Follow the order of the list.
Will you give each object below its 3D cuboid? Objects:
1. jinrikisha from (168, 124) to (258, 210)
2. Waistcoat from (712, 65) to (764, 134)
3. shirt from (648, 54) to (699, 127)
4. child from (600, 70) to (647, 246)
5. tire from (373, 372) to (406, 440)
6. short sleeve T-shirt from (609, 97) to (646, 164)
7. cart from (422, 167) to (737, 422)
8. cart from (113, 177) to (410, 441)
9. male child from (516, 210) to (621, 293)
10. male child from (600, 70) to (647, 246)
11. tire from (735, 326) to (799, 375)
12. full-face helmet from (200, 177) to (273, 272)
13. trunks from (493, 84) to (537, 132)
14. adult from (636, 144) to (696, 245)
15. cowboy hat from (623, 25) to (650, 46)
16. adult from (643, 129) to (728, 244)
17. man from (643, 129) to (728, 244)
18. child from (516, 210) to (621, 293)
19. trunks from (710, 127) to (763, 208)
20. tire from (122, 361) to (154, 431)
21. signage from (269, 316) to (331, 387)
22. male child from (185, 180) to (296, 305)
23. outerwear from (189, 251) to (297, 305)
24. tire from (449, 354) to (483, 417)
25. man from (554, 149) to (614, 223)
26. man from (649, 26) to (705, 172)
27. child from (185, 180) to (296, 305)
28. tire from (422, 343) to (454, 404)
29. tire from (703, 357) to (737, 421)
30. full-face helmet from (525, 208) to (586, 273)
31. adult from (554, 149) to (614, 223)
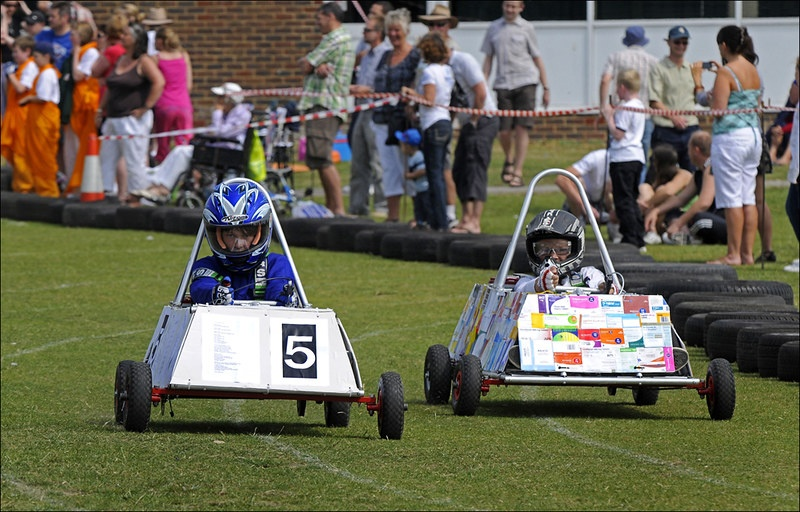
[{"bbox_3d":[-2.409,-1.141,20.894,1.276,1.422,0.856,6,0,-4],"label":"jinrikisha"},{"bbox_3d":[3.658,-1.689,17.268,0.493,0.735,0.316,1,4,10],"label":"Waistcoat"},{"bbox_3d":[3.472,-2.047,20.015,0.847,0.919,0.498,-1,3,-24],"label":"shirt"},{"bbox_3d":[2.640,-1.124,18.826,0.560,2.070,0.578,1,2,0],"label":"child"},{"bbox_3d":[-0.073,1.219,12.959,0.241,0.540,0.288,0,4,-1],"label":"tire"},{"bbox_3d":[2.668,-1.482,18.797,0.439,0.772,0.643,2,6,26],"label":"short sleeve T-shirt"},{"bbox_3d":[1.482,0.280,14.431,2.389,2.047,2.698,1,3,-10],"label":"cart"},{"bbox_3d":[-1.157,0.426,13.047,2.067,1.812,2.325,2,-9,-10],"label":"cart"},{"bbox_3d":[1.425,-0.035,13.989,0.830,0.682,1.096,-1,14,8],"label":"male child"},{"bbox_3d":[2.636,-1.101,18.825,0.579,2.063,0.628,2,4,33],"label":"male child"},{"bbox_3d":[3.264,0.824,14.425,0.459,0.280,0.460,0,3,1],"label":"tire"},{"bbox_3d":[-1.334,-0.281,13.381,0.552,0.624,0.722,-1,21,-1],"label":"full-face helmet"},{"bbox_3d":[1.432,-1.859,19.904,0.499,0.711,0.391,-5,-23,12],"label":"trunks"},{"bbox_3d":[3.297,-0.748,19.886,0.746,1.213,0.560,-10,15,-32],"label":"adult"},{"bbox_3d":[2.921,-2.756,19.831,0.303,0.288,0.441,1,4,14],"label":"cowboy hat"},{"bbox_3d":[3.672,-0.763,19.448,1.265,1.470,1.225,2,1,-4],"label":"adult"},{"bbox_3d":[3.680,-0.777,19.438,1.265,1.470,1.225,2,1,-4],"label":"man"},{"bbox_3d":[1.433,-0.040,13.986,0.837,0.692,1.095,-1,13,7],"label":"child"},{"bbox_3d":[3.716,-1.002,17.591,0.691,0.922,0.520,-3,7,-45],"label":"trunks"},{"bbox_3d":[-2.160,1.159,12.976,0.215,0.599,0.600,6,13,-14],"label":"tire"},{"bbox_3d":[-0.826,0.801,12.848,0.567,0.666,0.065,0,-17,-7],"label":"signage"},{"bbox_3d":[-1.375,-0.101,13.359,0.937,0.980,1.448,-2,0,-19],"label":"male child"},{"bbox_3d":[-1.292,0.240,13.282,0.787,0.512,1.084,4,6,-10],"label":"outerwear"},{"bbox_3d":[0.564,1.115,13.529,0.180,0.500,0.498,1,2,-16],"label":"tire"},{"bbox_3d":[2.173,-0.809,18.484,0.905,0.972,0.568,-3,22,8],"label":"man"},{"bbox_3d":[3.536,-1.703,19.965,0.801,2.335,0.796,-3,13,-6],"label":"man"},{"bbox_3d":[-1.368,-0.091,13.371,0.901,0.971,1.403,-2,1,-12],"label":"child"},{"bbox_3d":[0.332,1.054,13.923,0.166,0.399,0.399,0,19,-4],"label":"tire"},{"bbox_3d":[2.700,1.134,13.416,0.246,0.508,0.190,1,4,9],"label":"tire"},{"bbox_3d":[1.356,-0.113,13.933,0.435,0.470,0.594,3,19,13],"label":"full-face helmet"},{"bbox_3d":[2.173,-0.809,18.484,0.905,0.972,0.568,-3,22,8],"label":"adult"}]
